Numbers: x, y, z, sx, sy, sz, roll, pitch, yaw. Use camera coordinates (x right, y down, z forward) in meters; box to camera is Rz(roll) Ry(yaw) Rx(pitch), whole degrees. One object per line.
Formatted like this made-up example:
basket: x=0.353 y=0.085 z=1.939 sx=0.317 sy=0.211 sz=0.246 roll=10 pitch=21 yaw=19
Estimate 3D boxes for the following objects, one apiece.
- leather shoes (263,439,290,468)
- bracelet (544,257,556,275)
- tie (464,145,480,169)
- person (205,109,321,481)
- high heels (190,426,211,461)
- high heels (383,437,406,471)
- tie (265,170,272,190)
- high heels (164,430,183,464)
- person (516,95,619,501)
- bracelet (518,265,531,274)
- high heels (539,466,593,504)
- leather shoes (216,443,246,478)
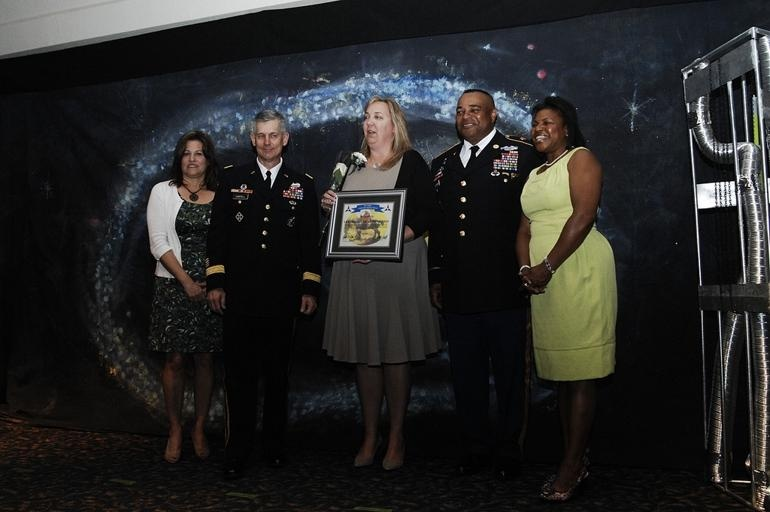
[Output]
leather shoes: x=-0.747 y=1.332 z=4.230 sx=0.152 sy=0.168 sz=0.106 roll=-2 pitch=6 yaw=-11
bracelet: x=0.982 y=0.058 z=3.715 sx=0.037 sy=0.093 sz=0.081 roll=-42 pitch=18 yaw=-6
tie: x=0.583 y=-0.659 z=4.136 sx=0.090 sy=0.144 sz=0.024 roll=8 pitch=-12 yaw=43
person: x=-0.810 y=0.229 z=4.261 sx=0.781 sy=2.439 sz=0.550 roll=-3 pitch=6 yaw=-16
high heels: x=-1.323 y=1.344 z=4.462 sx=0.094 sy=0.174 sz=0.265 roll=0 pitch=6 yaw=-22
high heels: x=0.061 y=1.318 z=4.147 sx=0.149 sy=0.181 sz=0.094 roll=-3 pitch=6 yaw=-14
tie: x=-0.814 y=-0.525 z=4.302 sx=0.037 sy=0.120 sz=0.014 roll=4 pitch=-21 yaw=-4
high heels: x=-1.475 y=1.347 z=4.371 sx=0.087 sy=0.106 sz=0.254 roll=2 pitch=10 yaw=-14
person: x=1.127 y=0.209 z=3.854 sx=0.578 sy=2.387 sz=0.590 roll=-3 pitch=6 yaw=-13
bracelet: x=0.866 y=0.081 z=3.832 sx=0.063 sy=0.022 sz=0.046 roll=-17 pitch=13 yaw=-42
high heels: x=1.095 y=1.364 z=3.744 sx=0.361 sy=0.142 sz=0.184 roll=-3 pitch=6 yaw=-14
leather shoes: x=-0.985 y=1.338 z=4.101 sx=0.158 sy=0.180 sz=0.202 roll=-3 pitch=6 yaw=-13
